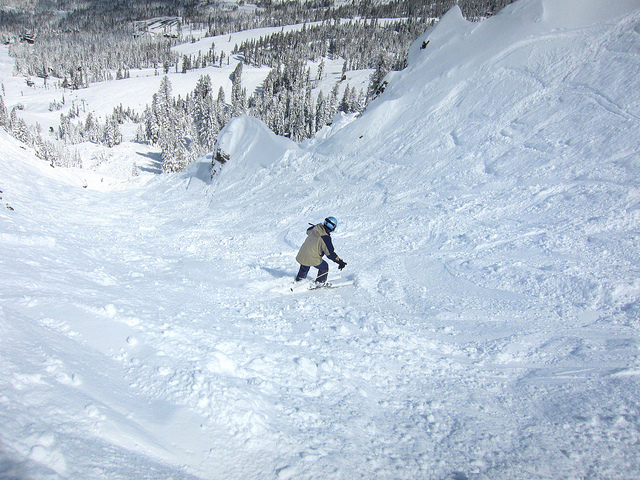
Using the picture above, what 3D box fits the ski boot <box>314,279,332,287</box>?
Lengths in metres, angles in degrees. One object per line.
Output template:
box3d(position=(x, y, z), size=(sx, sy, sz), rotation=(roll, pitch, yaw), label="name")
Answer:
box3d(position=(0.129, 1.451, 20.917), size=(0.568, 0.141, 0.255), rotation=(2, 21, 0), label="ski boot")
